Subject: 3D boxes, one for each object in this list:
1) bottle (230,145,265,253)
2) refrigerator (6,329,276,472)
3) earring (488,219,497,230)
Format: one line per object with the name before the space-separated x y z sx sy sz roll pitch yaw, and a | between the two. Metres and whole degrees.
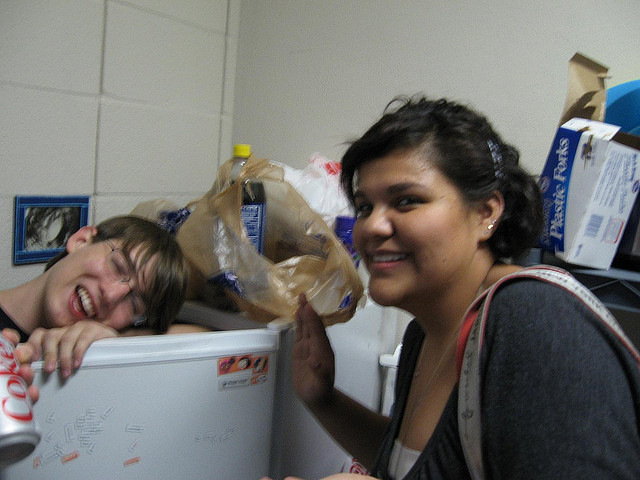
bottle | -0.259 -0.166 1.657 0.114 0.352 0.470 0 8 -11
refrigerator | -0.446 0.225 1.292 0.664 0.504 0.358 3 6 -33
earring | 0.358 -0.033 0.980 0.007 0.025 0.006 26 -18 51
